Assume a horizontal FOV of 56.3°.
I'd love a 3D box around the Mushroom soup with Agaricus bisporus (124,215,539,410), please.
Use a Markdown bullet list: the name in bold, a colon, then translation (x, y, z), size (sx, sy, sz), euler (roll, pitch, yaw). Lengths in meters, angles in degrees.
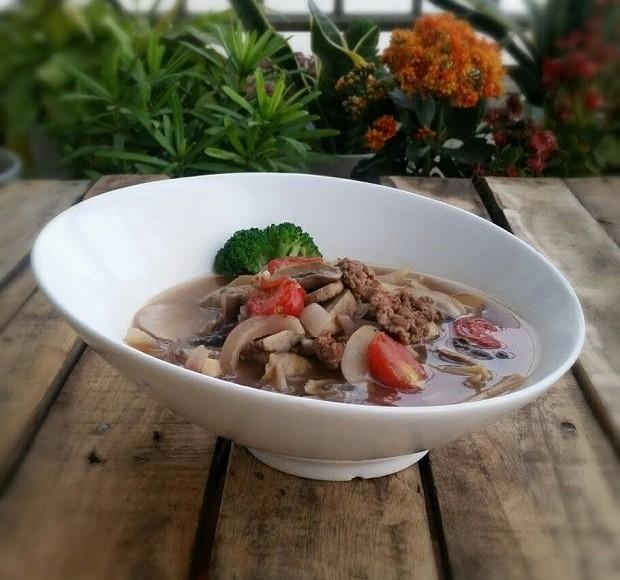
- **Mushroom soup with Agaricus bisporus**: translation (0.019, -0.011, 0.795), size (0.392, 0.101, 0.318), euler (10, 13, 24)
